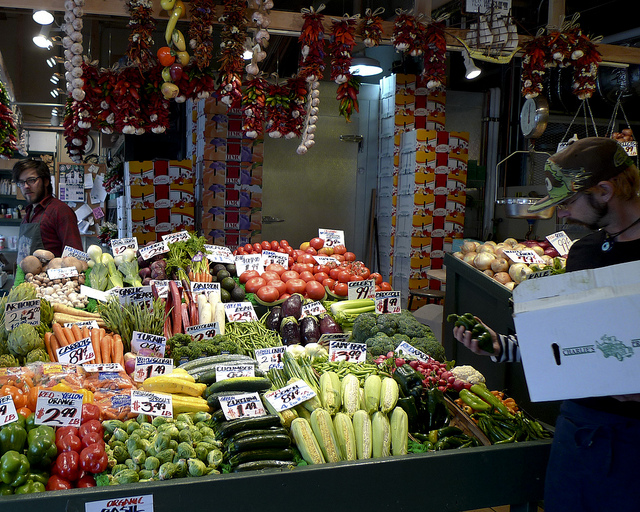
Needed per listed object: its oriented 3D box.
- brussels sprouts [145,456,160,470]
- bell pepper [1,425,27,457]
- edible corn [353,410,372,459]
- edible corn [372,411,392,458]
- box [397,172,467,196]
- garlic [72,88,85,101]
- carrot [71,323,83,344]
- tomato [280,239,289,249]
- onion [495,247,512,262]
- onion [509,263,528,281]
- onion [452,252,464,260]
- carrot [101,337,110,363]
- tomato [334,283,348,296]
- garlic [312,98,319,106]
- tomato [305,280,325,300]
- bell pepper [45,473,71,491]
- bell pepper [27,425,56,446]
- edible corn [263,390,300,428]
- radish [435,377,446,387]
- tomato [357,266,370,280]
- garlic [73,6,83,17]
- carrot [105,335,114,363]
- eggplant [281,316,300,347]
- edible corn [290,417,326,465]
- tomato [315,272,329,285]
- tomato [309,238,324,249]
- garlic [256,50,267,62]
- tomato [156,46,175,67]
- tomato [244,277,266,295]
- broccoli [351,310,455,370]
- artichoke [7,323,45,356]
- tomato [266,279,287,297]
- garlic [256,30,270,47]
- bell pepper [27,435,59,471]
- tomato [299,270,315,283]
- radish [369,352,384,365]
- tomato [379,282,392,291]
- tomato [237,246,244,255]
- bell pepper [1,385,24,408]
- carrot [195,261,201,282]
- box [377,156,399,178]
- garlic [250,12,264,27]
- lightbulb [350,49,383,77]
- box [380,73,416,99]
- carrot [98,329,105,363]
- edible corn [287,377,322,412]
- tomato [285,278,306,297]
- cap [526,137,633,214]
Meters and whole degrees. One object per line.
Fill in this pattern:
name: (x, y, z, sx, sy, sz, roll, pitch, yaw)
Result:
brussels sprouts: (-0.692, 0.867, 2.106, 0.047, 0.049, 0.046, 0, -1, -2)
bell pepper: (-1.237, 0.757, 2.055, 0.094, 0.116, 0.102, 3, -12, -15)
edible corn: (0.203, 0.836, 2.367, 0.058, 0.183, 0.060, -1, -37, -1)
edible corn: (0.284, 0.839, 2.371, 0.058, 0.188, 0.066, 12, -43, -16)
box: (1.591, -1.019, 7.284, 0.965, 0.355, 0.420, -1, 7, 8)
garlic: (-1.714, -1.148, 3.638, 0.074, 0.076, 0.041, 31, 6, 3)
carrot: (-1.386, 0.455, 2.902, 0.023, 0.026, 0.098, 2, 39, -42)
tomato: (-0.304, -0.101, 4.332, 0.064, 0.083, 0.066, 0, 0, -4)
onion: (1.488, -0.007, 4.120, 0.098, 0.096, 0.100, -2, -6, 31)
onion: (1.532, 0.121, 3.971, 0.118, 0.124, 0.120, 9, 5, 6)
onion: (1.217, 0.004, 4.481, 0.058, 0.057, 0.058, 0, 4, -29)
carrot: (-1.215, 0.542, 2.887, 0.042, 0.117, 0.117, -5, 7, -23)
tomato: (0.155, 0.250, 3.702, 0.080, 0.087, 0.079, -1, 3, 6)
garlic: (-0.031, -1.227, 4.032, 0.042, 0.045, 0.058, -2, 9, -9)
tomato: (-0.033, 0.253, 3.740, 0.115, 0.149, 0.122, -30, 11, 1)
bell pepper: (-1.036, 0.911, 2.017, 0.060, 0.064, 0.062, 6, 11, -25)
bell pepper: (-1.144, 0.741, 2.097, 0.071, 0.078, 0.076, -7, -6, 13)
edible corn: (-0.176, 0.752, 2.460, 0.092, 0.046, 0.151, -20, 50, -40)
radish: (0.647, 0.682, 2.711, 0.043, 0.033, 0.022, -2, 7, 5)
tomato: (0.338, 0.131, 3.926, 0.085, 0.084, 0.090, -3, 44, -2)
garlic: (-1.639, -1.671, 3.458, 0.052, 0.055, 0.064, 3, 44, -11)
carrot: (-1.205, 0.534, 2.940, 0.032, 0.179, 0.030, 0, -18, -24)
eggplant: (-0.188, 0.484, 3.201, 0.084, 0.174, 0.088, -2, -20, -2)
edible corn: (-0.060, 0.851, 2.358, 0.076, 0.078, 0.263, -17, 49, -9)
tomato: (0.009, 0.171, 3.795, 0.067, 0.084, 0.070, 3, -20, -6)
tomato: (-0.028, -0.104, 4.340, 0.086, 0.074, 0.094, 6, 2, -6)
garlic: (-0.441, -1.496, 3.813, 0.064, 0.079, 0.035, 4, 38, -7)
tomato: (-1.112, -1.451, 3.732, 0.117, 0.122, 0.122, 20, 42, -6)
tomato: (-0.476, 0.220, 3.629, 0.113, 0.087, 0.123, 2, -3, -5)
broccoli: (0.500, 0.535, 3.264, 0.574, 0.298, 0.494, -3, 7, -7)
artichoke: (-1.610, 0.465, 2.783, 0.140, 0.185, 0.178, -3, -4, 1)
tomato: (-0.308, 0.231, 3.606, 0.108, 0.106, 0.113, 1, -8, 5)
garlic: (-0.418, -1.601, 3.746, 0.074, 0.096, 0.039, -11, 20, 0)
bell pepper: (-1.119, 0.808, 2.056, 0.082, 0.078, 0.091, 37, -15, 13)
tomato: (-0.090, 0.162, 3.812, 0.078, 0.041, 0.080, 14, 9, 41)
radish: (0.334, 0.615, 3.008, 0.063, 0.026, 0.030, 41, 33, 23)
tomato: (0.494, 0.237, 3.854, 0.061, 0.066, 0.069, 1, -1, 11)
tomato: (-0.651, -0.039, 4.178, 0.045, 0.058, 0.046, 8, 9, 42)
bell pepper: (-1.352, 0.631, 2.275, 0.082, 0.091, 0.090, 4, -21, 21)
carrot: (-0.871, 0.113, 3.638, 0.040, 0.124, 0.161, -3, 7, -11)
box: (1.037, -1.368, 7.845, 0.266, 0.415, 0.503, -2, 7, -17)
garlic: (-0.454, -1.722, 3.703, 0.092, 0.103, 0.076, 7, 10, 44)
lightbulb: (0.581, -2.427, 6.392, 0.336, 0.223, 0.532, 0, 7, 16)
box: (1.142, -2.514, 7.473, 0.437, 0.289, 0.445, 0, 2, -23)
carrot: (-1.241, 0.528, 2.896, 0.030, 0.161, 0.032, -14, -10, 23)
edible corn: (-0.068, 0.716, 2.577, 0.098, 0.195, 0.066, -26, -15, -14)
tomato: (-0.170, 0.232, 3.650, 0.107, 0.105, 0.112, 1, 2, -4)
cap: (0.998, -0.333, 1.942, 0.381, 0.197, 0.255, -26, 11, 9)
